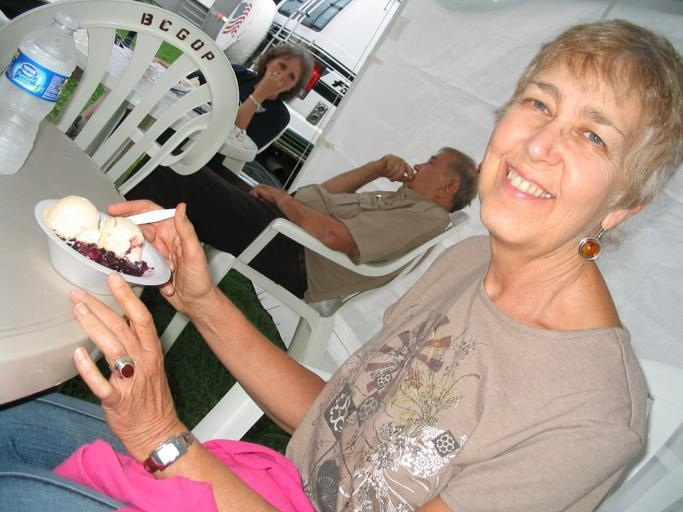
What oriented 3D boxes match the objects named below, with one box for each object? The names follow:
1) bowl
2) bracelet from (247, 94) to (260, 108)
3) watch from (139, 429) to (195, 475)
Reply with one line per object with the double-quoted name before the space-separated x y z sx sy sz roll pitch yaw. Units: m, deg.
"bowl" -0.462 0.025 0.855 0.215 0.077 0.213 36 13 -10
"bracelet" -0.661 -1.181 3.368 0.028 0.098 0.101 -10 41 -34
"watch" -0.332 0.380 0.853 0.061 0.087 0.095 57 -8 5
